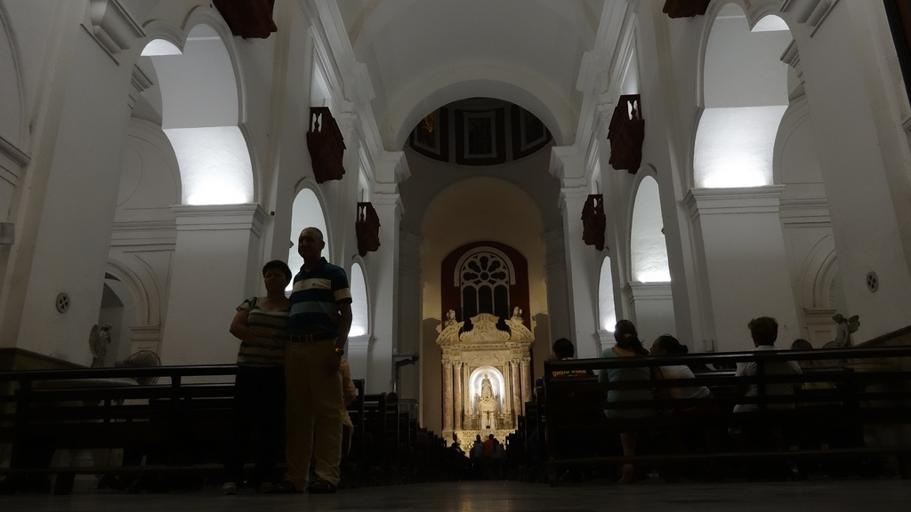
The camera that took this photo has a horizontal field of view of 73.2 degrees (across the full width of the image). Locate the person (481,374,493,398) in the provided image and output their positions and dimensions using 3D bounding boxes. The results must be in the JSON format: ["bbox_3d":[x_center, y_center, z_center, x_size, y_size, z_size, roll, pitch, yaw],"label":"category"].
[{"bbox_3d":[1.263,5.343,25.038,0.475,0.865,0.479,-2,-14,2],"label":"person"}]

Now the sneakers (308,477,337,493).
[{"bbox_3d":[-1.318,2.264,6.028,0.228,0.086,0.118,7,-29,-4],"label":"sneakers"}]

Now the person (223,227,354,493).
[{"bbox_3d":[-1.641,1.046,6.389,1.181,2.701,0.591,-8,-16,22],"label":"person"}]
